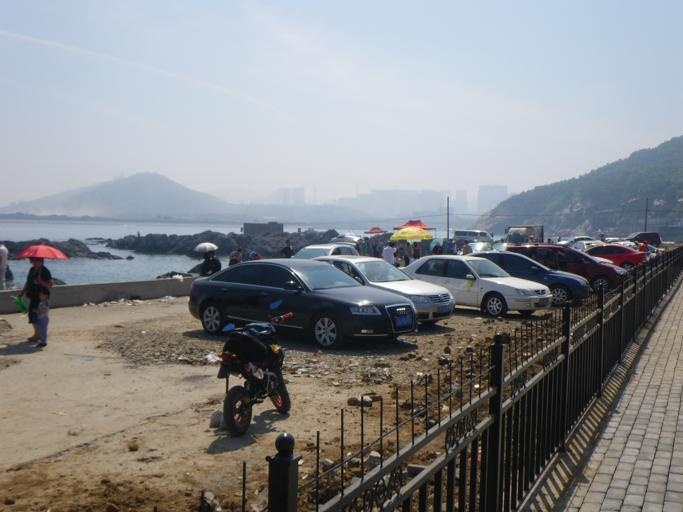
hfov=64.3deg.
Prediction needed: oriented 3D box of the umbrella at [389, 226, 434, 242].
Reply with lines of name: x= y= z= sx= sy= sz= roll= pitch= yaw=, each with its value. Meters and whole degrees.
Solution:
umbrella: x=3.782 y=-1.176 z=29.986 sx=1.830 sy=0.797 sz=2.478 roll=6 pitch=8 yaw=20

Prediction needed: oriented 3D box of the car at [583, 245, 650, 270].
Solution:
car: x=11.090 y=0.051 z=22.135 sx=1.958 sy=0.679 sz=0.906 roll=12 pitch=5 yaw=28

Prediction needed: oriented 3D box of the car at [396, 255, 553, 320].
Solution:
car: x=3.719 y=0.801 z=15.784 sx=4.149 sy=1.284 sz=1.774 roll=5 pitch=2 yaw=37

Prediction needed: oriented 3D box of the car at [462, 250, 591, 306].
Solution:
car: x=6.407 y=0.542 z=17.273 sx=4.973 sy=1.588 sz=2.080 roll=2 pitch=1 yaw=27

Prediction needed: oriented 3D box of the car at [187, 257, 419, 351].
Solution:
car: x=-1.104 y=0.980 z=11.752 sx=4.589 sy=1.386 sz=1.890 roll=-2 pitch=-4 yaw=25

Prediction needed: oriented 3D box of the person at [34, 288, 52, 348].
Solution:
person: x=-5.953 y=1.182 z=10.782 sx=0.232 sy=1.178 sz=0.590 roll=-2 pitch=10 yaw=-30

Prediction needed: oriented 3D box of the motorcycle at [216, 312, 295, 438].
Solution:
motorcycle: x=-1.227 y=1.377 z=6.685 sx=0.761 sy=0.844 sz=1.390 roll=-8 pitch=5 yaw=19
